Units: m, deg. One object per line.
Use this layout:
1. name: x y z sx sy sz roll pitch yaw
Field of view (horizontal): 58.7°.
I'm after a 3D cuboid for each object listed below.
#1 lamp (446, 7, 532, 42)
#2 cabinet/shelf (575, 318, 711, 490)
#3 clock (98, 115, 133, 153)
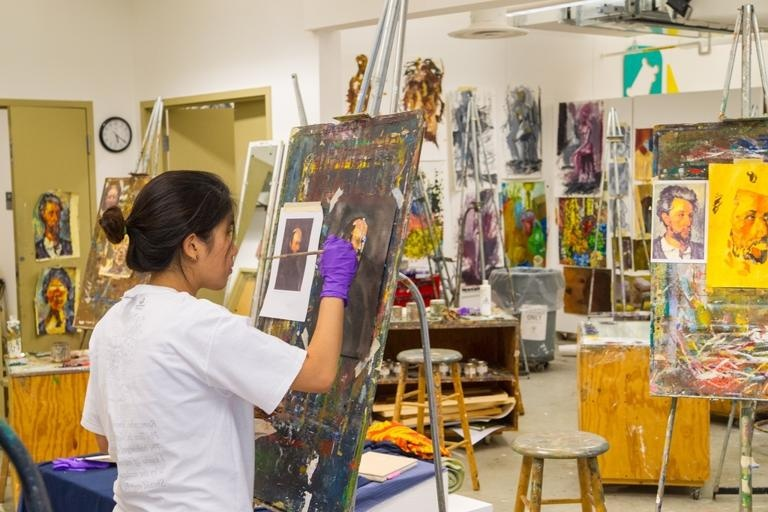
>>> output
1. lamp: 0.866 -2.050 6.094 0.390 0.137 0.396 3 5 36
2. cabinet/shelf: 1.822 1.061 4.813 0.840 0.981 0.444 -2 -1 19
3. clock: -2.786 -1.264 7.066 0.340 0.363 0.035 1 5 2
